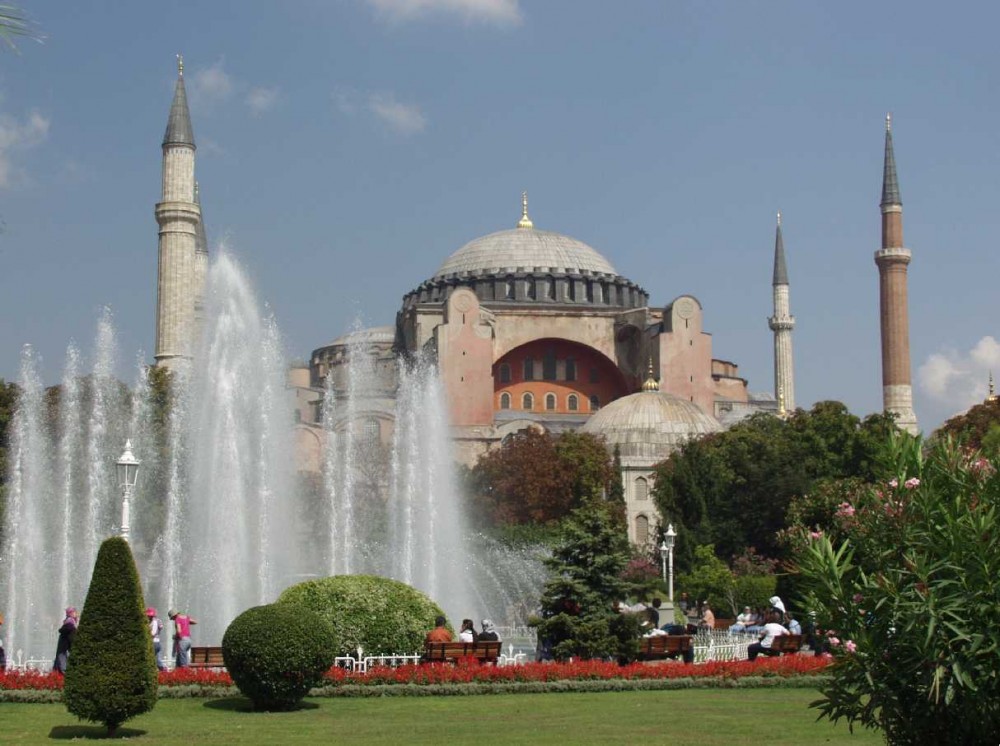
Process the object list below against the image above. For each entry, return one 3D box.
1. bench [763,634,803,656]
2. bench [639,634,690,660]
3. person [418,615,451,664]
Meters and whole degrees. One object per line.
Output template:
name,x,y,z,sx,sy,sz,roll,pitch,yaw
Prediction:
bench,5.280,5.042,44.075,0.400,0.459,1.406,-9,-13,25
bench,3.095,5.052,43.829,0.506,0.202,0.906,-2,0,36
person,-1.083,4.624,41.566,0.527,0.846,1.162,-3,-12,-1
